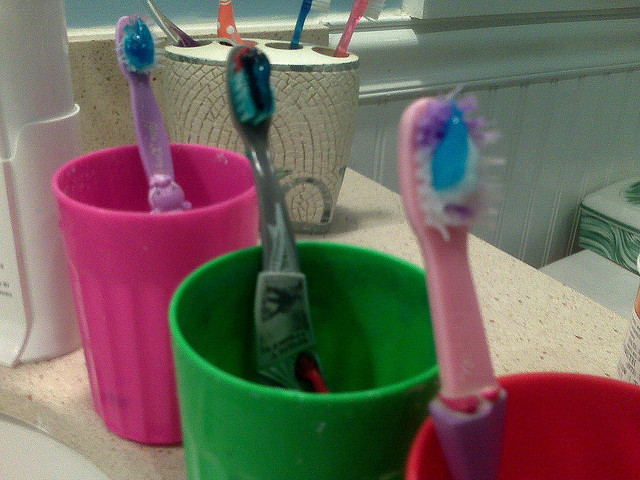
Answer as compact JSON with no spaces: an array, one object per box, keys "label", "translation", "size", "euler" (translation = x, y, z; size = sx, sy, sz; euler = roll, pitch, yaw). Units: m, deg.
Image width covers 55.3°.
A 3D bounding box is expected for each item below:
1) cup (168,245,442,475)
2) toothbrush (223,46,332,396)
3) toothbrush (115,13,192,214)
[{"label":"cup","translation":[-0.011,0.046,0.253],"size":[0.103,0.086,0.115],"euler":[-2,20,-8]},{"label":"toothbrush","translation":[-0.019,-0.007,0.271],"size":[0.030,0.132,0.088],"euler":[-7,37,-15]},{"label":"toothbrush","translation":[-0.085,-0.066,0.338],"size":[0.036,0.128,0.015],"euler":[-5,24,4]}]
